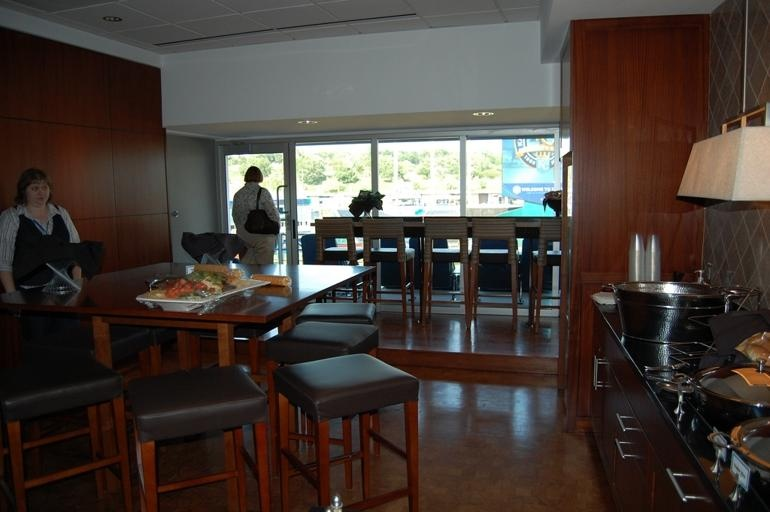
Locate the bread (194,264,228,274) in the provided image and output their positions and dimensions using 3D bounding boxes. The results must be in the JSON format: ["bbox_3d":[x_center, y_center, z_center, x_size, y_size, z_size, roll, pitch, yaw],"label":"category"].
[{"bbox_3d":[-1.096,0.080,3.536,0.261,0.047,0.066,-2,-23,19],"label":"bread"}]

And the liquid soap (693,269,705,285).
[{"bbox_3d":[1.981,0.129,3.501,0.083,0.105,0.103,0,-2,18],"label":"liquid soap"}]

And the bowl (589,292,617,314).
[{"bbox_3d":[1.428,0.291,3.633,0.159,0.047,0.156,-12,39,10],"label":"bowl"}]

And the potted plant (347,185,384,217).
[{"bbox_3d":[-0.214,-0.675,6.626,0.357,0.333,0.352,-1,6,-5],"label":"potted plant"}]

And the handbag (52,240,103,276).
[{"bbox_3d":[-1.880,-0.007,3.455,0.278,0.117,0.273,2,-1,-14],"label":"handbag"}]

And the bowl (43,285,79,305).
[{"bbox_3d":[-1.898,0.241,3.272,0.169,0.042,0.173,2,7,0],"label":"bowl"}]

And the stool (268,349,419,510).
[{"bbox_3d":[-0.187,1.042,3.132,0.823,1.003,0.690,-3,15,-10],"label":"stool"}]
